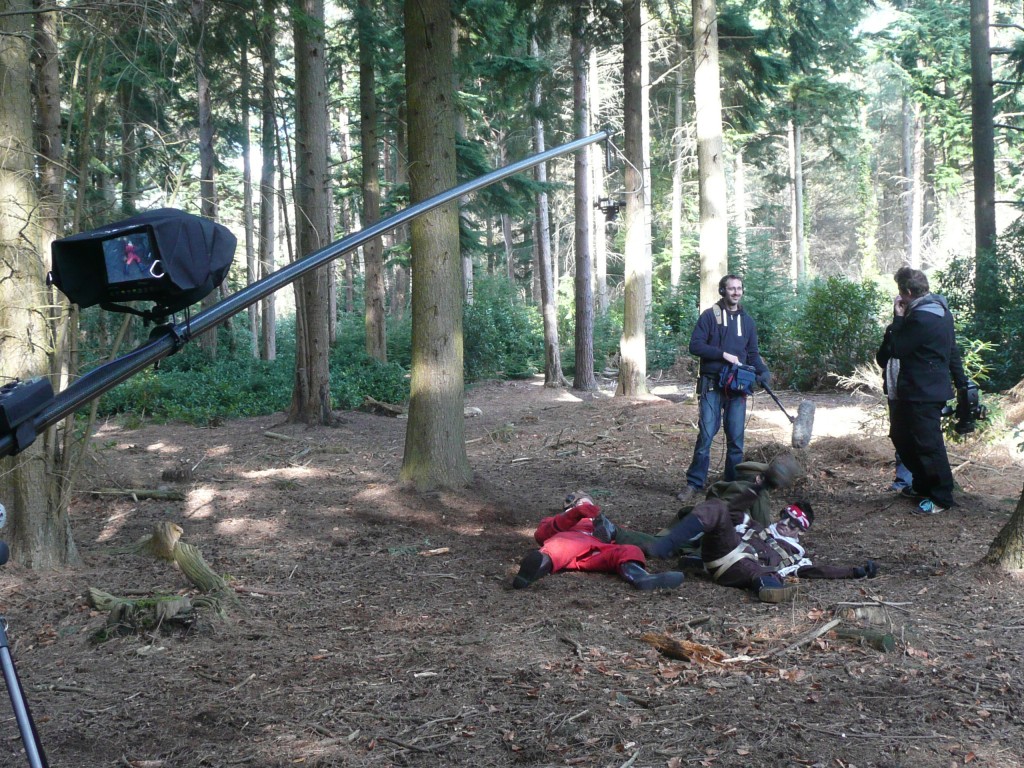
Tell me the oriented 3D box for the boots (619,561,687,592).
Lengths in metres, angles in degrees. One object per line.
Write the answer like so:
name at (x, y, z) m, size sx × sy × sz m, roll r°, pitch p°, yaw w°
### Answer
boots at (1.289, 1.733, 9.804) m, size 0.522 × 0.249 × 0.534 m, roll 1°, pitch -4°, yaw 0°

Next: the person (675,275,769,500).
person at (2.468, 0.011, 12.581) m, size 0.960 × 2.540 × 0.680 m, roll -1°, pitch 4°, yaw 8°

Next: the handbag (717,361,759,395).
handbag at (2.585, -0.070, 12.406) m, size 0.286 × 0.422 × 0.439 m, roll 5°, pitch 2°, yaw 40°

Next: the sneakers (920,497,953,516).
sneakers at (4.532, 1.308, 11.497) m, size 0.323 × 0.151 × 0.130 m, roll -4°, pitch -1°, yaw 0°

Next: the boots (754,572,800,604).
boots at (2.335, 1.795, 9.529) m, size 0.375 × 0.215 × 0.247 m, roll -1°, pitch 4°, yaw 9°

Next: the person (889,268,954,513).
person at (4.398, 0.060, 11.601) m, size 0.624 × 2.565 × 0.445 m, roll 0°, pitch 5°, yaw 20°

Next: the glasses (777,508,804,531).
glasses at (2.620, 1.259, 10.094) m, size 0.167 × 0.218 × 0.166 m, roll -43°, pitch -25°, yaw 11°

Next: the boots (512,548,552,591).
boots at (0.188, 1.697, 9.970) m, size 0.202 × 0.443 × 0.406 m, roll 21°, pitch -7°, yaw 18°
